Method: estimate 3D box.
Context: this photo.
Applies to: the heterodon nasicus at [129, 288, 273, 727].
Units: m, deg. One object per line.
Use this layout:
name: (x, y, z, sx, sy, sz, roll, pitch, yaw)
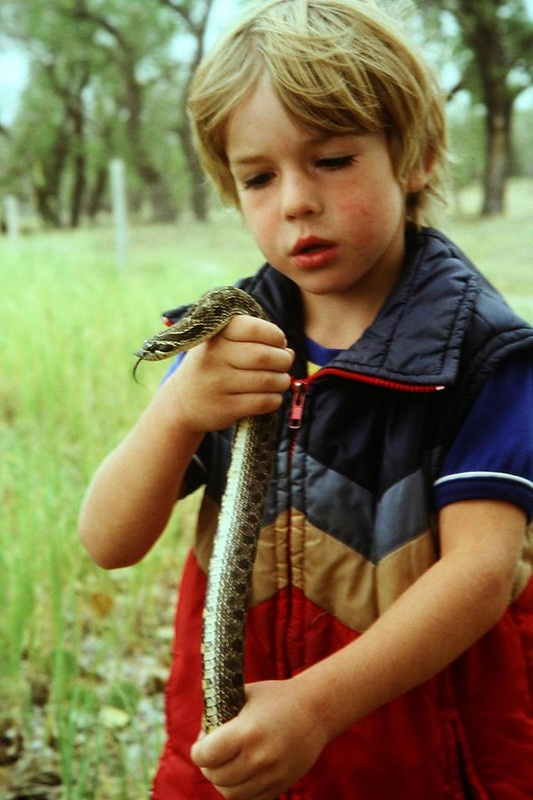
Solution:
heterodon nasicus: (-0.134, 0.203, 1.768, 0.386, 0.854, 0.221, 0, 5, -21)
